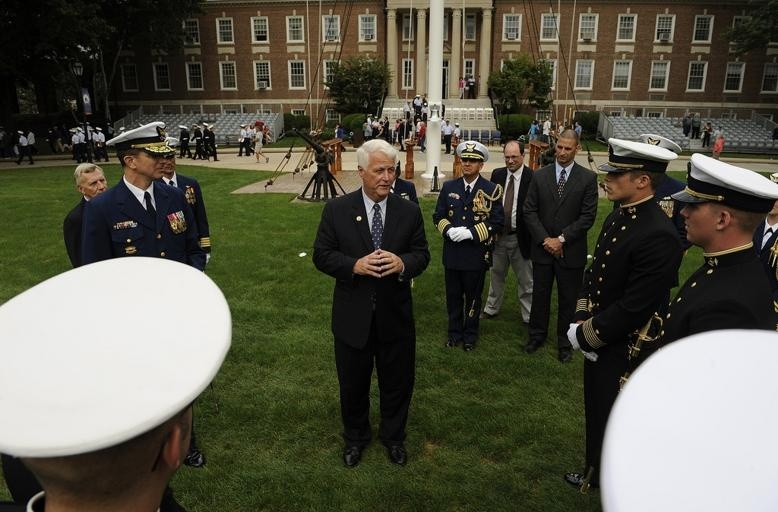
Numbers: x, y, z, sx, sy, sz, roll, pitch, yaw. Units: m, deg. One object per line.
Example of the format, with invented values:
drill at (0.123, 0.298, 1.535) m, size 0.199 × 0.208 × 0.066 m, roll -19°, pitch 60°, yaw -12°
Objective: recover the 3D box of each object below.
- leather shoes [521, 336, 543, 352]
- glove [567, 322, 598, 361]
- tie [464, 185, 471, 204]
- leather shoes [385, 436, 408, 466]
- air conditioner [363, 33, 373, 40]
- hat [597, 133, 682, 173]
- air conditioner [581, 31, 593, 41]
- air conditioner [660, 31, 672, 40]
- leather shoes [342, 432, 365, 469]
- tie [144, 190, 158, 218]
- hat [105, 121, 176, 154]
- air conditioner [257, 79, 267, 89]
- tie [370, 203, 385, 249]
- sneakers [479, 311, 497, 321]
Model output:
leather shoes at (1.589, 0.946, 6.314) m, size 0.110 × 0.130 × 0.330 m, roll 7°, pitch 9°, yaw 37°
glove at (1.423, 0.616, 4.298) m, size 0.166 × 0.271 × 0.304 m, roll -4°, pitch 15°, yaw -8°
tie at (0.891, -0.686, 6.422) m, size 0.041 × 0.161 × 0.114 m, roll 3°, pitch -2°, yaw 1°
leather shoes at (0.059, 1.527, 4.516) m, size 0.184 × 0.117 × 0.180 m, roll -2°, pitch 15°, yaw -2°
air conditioner at (-1.394, -15.312, 40.526) m, size 0.668 × 0.344 × 0.424 m, roll 2°, pitch 2°, yaw -1°
hat at (1.845, -0.724, 4.203) m, size 0.379 × 0.166 × 0.337 m, roll 1°, pitch 17°, yaw 15°
air conditioner at (13.529, -14.775, 38.861) m, size 0.645 × 0.636 × 0.404 m, roll 2°, pitch 6°, yaw 5°
air conditioner at (18.588, -14.647, 38.539) m, size 0.747 × 0.685 × 0.215 m, roll -5°, pitch 15°, yaw -11°
leather shoes at (-0.255, 1.500, 4.516) m, size 0.197 × 0.165 × 0.248 m, roll -2°, pitch 15°, yaw -1°
tie at (-1.970, -0.423, 4.741) m, size 0.057 × 0.259 × 0.069 m, roll -8°, pitch -11°, yaw -13°
hat at (-2.030, -0.933, 4.625) m, size 0.374 × 0.175 × 0.338 m, roll 0°, pitch 12°, yaw -2°
air conditioner at (-9.319, -12.555, 42.319) m, size 0.609 × 0.384 × 0.617 m, roll 2°, pitch 6°, yaw 4°
tie at (-0.091, -0.242, 4.512) m, size 0.098 × 0.336 × 0.143 m, roll -2°, pitch 15°, yaw 0°
sneakers at (1.253, 0.747, 7.216) m, size 0.237 × 0.103 × 0.079 m, roll 1°, pitch 10°, yaw -3°
